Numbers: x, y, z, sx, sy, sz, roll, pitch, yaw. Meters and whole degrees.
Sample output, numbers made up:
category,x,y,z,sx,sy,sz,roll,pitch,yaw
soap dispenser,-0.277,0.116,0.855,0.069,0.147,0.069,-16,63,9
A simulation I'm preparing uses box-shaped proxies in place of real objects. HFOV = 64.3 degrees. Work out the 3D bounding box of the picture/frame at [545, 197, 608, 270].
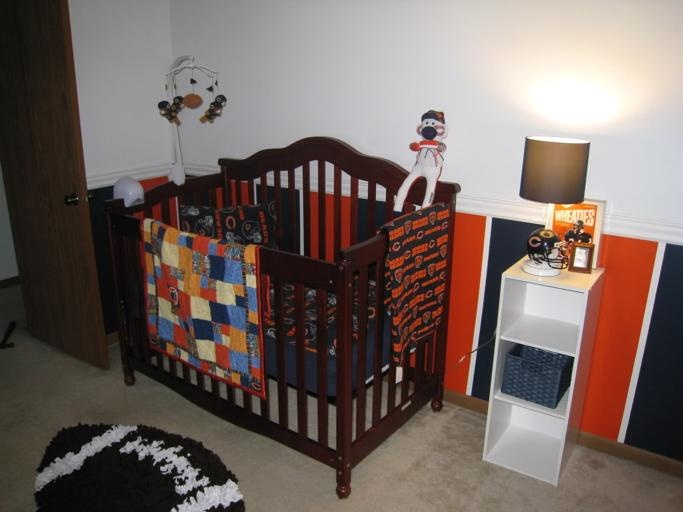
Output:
category,x,y,z,sx,sy,sz,roll,pitch,yaw
picture/frame,1.159,-0.100,2.659,0.272,0.410,0.053,12,21,36

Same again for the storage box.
category,x,y,z,sx,sy,sz,roll,pitch,yaw
storage box,1.020,0.580,2.859,0.297,0.320,0.298,11,20,30

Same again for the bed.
category,x,y,z,sx,sy,sz,roll,pitch,yaw
bed,-0.271,0.391,2.905,1.421,1.283,0.848,13,22,34

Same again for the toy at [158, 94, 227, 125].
category,x,y,z,sx,sy,sz,roll,pitch,yaw
toy,-0.949,-0.969,3.477,0.395,0.210,0.275,1,41,-3

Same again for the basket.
category,x,y,z,sx,sy,sz,roll,pitch,yaw
basket,0.970,0.610,2.734,0.299,0.323,0.297,12,20,30

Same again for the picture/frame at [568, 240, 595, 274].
category,x,y,z,sx,sy,sz,roll,pitch,yaw
picture/frame,1.181,0.003,2.666,0.116,0.182,0.023,14,22,32

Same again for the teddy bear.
category,x,y,z,sx,sy,sz,roll,pitch,yaw
teddy bear,0.439,-0.509,2.888,0.229,0.587,0.204,24,27,28

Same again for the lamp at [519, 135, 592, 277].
category,x,y,z,sx,sy,sz,roll,pitch,yaw
lamp,1.020,-0.231,2.607,0.319,0.628,0.232,-7,20,-24
